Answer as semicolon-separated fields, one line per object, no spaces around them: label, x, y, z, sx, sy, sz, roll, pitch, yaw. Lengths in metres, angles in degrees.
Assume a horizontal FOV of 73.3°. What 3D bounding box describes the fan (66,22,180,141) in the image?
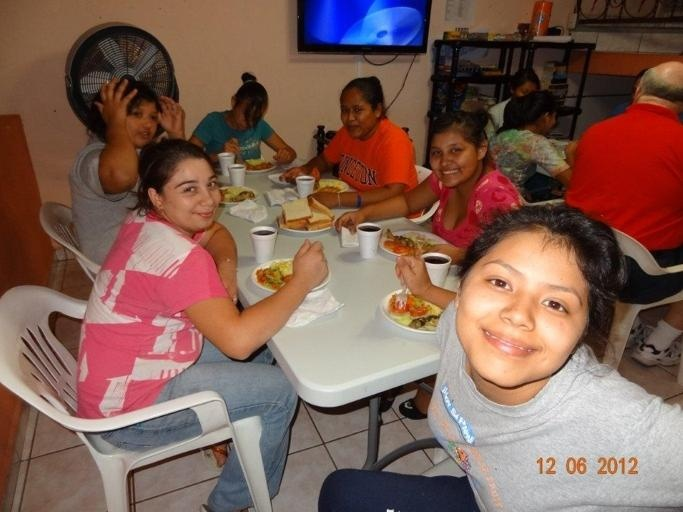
fan;-1.231;-1.024;2.484;0.554;0.553;0.128;-35;71;-22

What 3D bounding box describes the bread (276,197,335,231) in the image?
bread;-0.175;-0.197;2.315;0.210;0.060;0.200;-1;25;-3

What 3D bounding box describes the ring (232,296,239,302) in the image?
ring;-0.405;0.162;1.752;0.017;0.016;0.017;4;14;-1

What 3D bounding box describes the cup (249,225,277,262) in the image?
cup;-0.314;-0.068;1.969;0.145;0.154;0.142;0;23;0

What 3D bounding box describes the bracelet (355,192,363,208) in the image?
bracelet;0.102;-0.311;2.564;0.067;0.062;0.066;4;21;13

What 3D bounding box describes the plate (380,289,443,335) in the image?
plate;0.239;0.192;1.587;0.147;0.026;0.146;25;40;26

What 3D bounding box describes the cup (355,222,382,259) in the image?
cup;0.098;-0.071;2.026;0.137;0.146;0.134;-1;19;0
